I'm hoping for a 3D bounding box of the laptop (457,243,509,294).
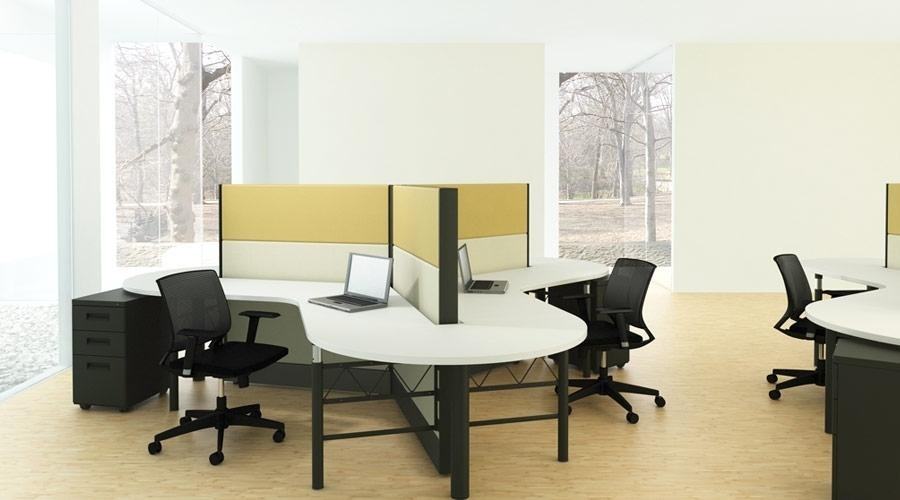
[{"bbox_3d":[0.385,0.248,7.935,0.658,0.467,0.694,0,6,7],"label":"laptop"}]
